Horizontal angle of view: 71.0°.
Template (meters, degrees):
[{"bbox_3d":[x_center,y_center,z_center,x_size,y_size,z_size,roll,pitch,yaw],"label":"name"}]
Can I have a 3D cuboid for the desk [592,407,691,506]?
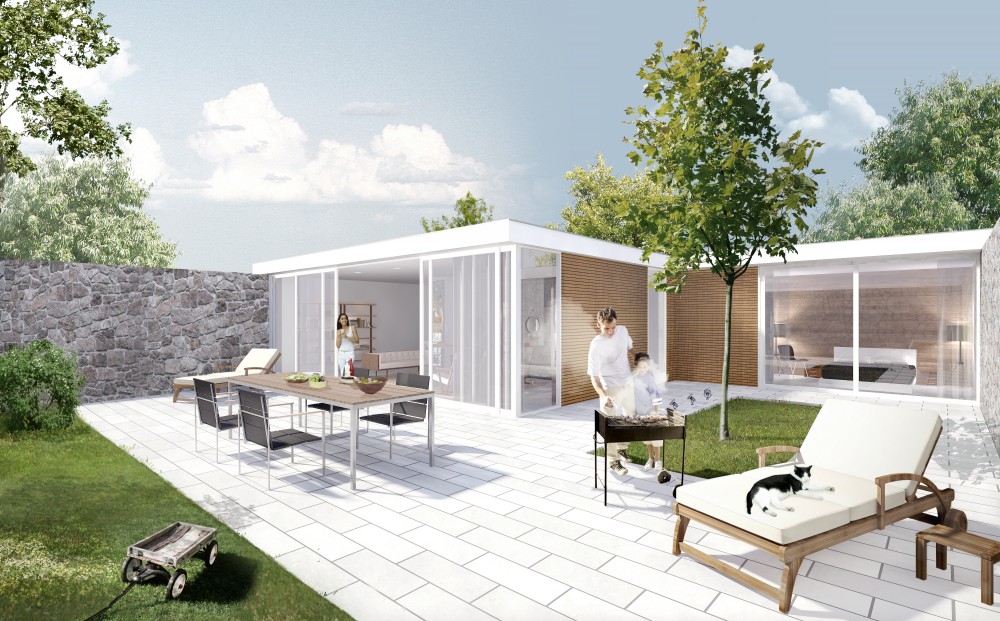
[{"bbox_3d":[2.343,2.490,11.721,1.560,1.433,0.890,1,0,-26],"label":"desk"}]

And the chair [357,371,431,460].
[{"bbox_3d":[-1.705,1.897,13.015,1.406,1.909,1.452,0,-2,44],"label":"chair"}]

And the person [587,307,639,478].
[{"bbox_3d":[2.018,1.359,12.215,0.955,2.626,0.837,-3,-1,5],"label":"person"}]

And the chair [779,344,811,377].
[{"bbox_3d":[7.550,1.330,17.972,0.770,1.073,0.742,-1,-1,21],"label":"chair"}]

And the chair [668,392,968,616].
[{"bbox_3d":[4.983,2.768,10.629,4.093,2.036,2.670,1,-1,-32],"label":"chair"}]

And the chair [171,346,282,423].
[{"bbox_3d":[-6.113,1.674,16.045,1.517,1.452,2.303,7,8,34],"label":"chair"}]
